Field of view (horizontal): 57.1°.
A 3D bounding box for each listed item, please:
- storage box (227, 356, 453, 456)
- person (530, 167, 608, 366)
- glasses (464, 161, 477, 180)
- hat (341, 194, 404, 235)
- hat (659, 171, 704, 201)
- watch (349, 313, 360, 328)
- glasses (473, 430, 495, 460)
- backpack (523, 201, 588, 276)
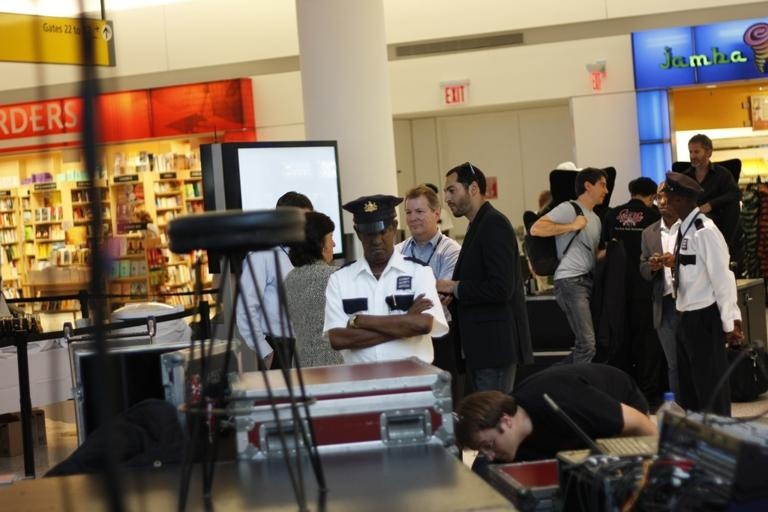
[{"bbox_3d":[-0.126,0.500,2.278,0.695,0.294,0.540,-6,5,-14],"label":"storage box"},{"bbox_3d":[1.471,0.101,5.482,0.432,1.550,0.576,-1,6,43],"label":"person"},{"bbox_3d":[0.501,-0.504,4.122,0.093,0.097,0.029,2,-4,-20],"label":"glasses"},{"bbox_3d":[-0.056,-0.219,3.471,0.300,0.170,0.300,-3,7,38],"label":"hat"},{"bbox_3d":[1.924,-0.454,4.528,0.238,0.190,0.197,-5,4,3],"label":"hat"},{"bbox_3d":[-0.140,0.306,3.353,0.023,0.063,0.046,14,-4,12],"label":"watch"},{"bbox_3d":[0.404,0.752,2.847,0.063,0.124,0.096,-2,3,-14],"label":"glasses"},{"bbox_3d":[1.338,-0.182,5.631,0.421,0.584,0.554,-18,25,-32],"label":"backpack"}]
